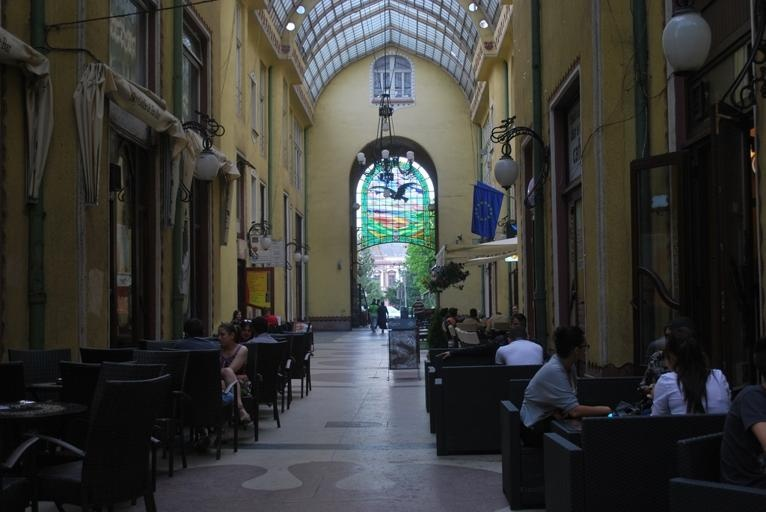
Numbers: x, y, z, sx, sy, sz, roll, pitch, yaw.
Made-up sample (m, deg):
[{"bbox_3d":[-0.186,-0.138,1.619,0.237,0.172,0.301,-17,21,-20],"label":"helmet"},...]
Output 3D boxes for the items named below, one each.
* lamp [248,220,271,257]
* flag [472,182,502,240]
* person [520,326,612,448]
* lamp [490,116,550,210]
[{"bbox_3d":[-4.004,-0.510,28.279,0.661,1.260,0.687,5,-20,-13],"label":"lamp"},{"bbox_3d":[3.355,-1.437,26.838,1.280,1.892,0.173,10,-35,-12],"label":"flag"},{"bbox_3d":[1.917,1.517,8.946,0.919,1.505,0.634,6,4,19],"label":"person"},{"bbox_3d":[2.451,-1.697,15.679,1.029,1.785,0.399,-2,-11,26],"label":"lamp"}]
